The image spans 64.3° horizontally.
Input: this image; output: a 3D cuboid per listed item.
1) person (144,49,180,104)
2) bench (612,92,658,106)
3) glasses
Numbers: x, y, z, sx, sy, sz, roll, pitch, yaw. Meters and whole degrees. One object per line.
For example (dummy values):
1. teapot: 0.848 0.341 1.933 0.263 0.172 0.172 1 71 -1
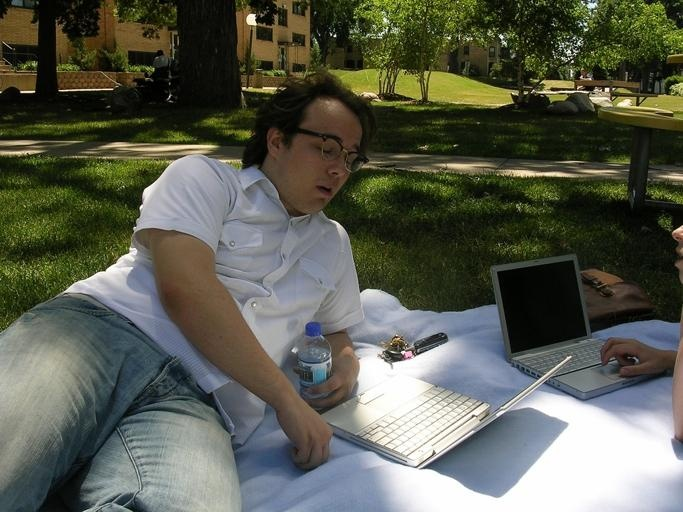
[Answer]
1. person: -5.990 -6.270 18.732 0.956 1.325 2.049 -6 25 -2
2. bench: 14.125 -7.691 26.602 1.421 0.726 9.047 8 17 24
3. glasses: -0.019 -0.500 2.570 0.234 0.072 0.230 22 4 -46
